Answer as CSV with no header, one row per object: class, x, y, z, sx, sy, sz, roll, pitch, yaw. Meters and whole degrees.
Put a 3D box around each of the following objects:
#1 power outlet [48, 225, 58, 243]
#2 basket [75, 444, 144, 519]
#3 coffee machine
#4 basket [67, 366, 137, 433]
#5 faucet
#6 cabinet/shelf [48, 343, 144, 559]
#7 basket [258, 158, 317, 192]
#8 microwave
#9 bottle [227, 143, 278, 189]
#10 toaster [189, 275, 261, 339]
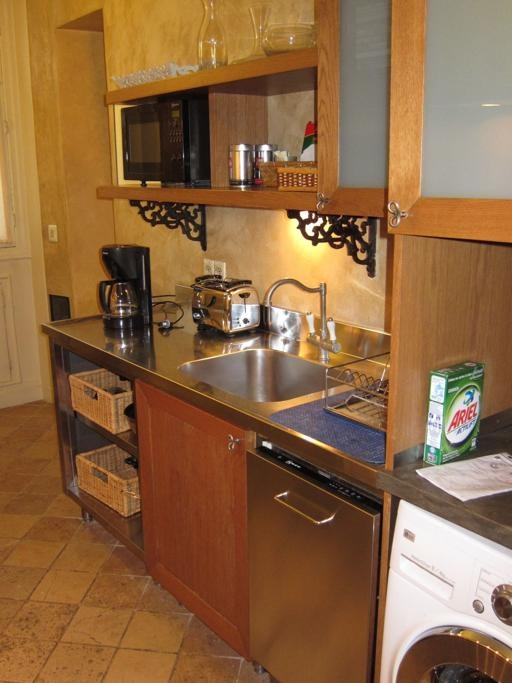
power outlet,-1.286,-0.686,3.611,0.109,0.152,0.016,8,12,37
basket,-0.618,0.573,2.434,0.329,0.145,0.232,15,17,43
coffee machine,-0.546,-0.232,2.372,0.214,0.337,0.197,-4,14,-12
basket,-0.600,0.225,2.317,0.320,0.144,0.187,18,21,37
faucet,0.179,-0.073,1.937,0.335,0.239,0.189,15,15,42
cabinet/shelf,-0.645,0.444,2.329,0.209,0.664,0.695,-12,24,-36
basket,0.091,-0.436,1.579,0.119,0.061,0.179,-2,12,-7
microwave,-0.319,-0.769,2.220,0.242,0.271,0.437,-13,21,-39
bottle,-0.032,-0.598,1.915,0.190,0.167,0.108,3,16,10
toaster,-0.117,-0.149,2.246,0.191,0.179,0.261,-14,21,-38
